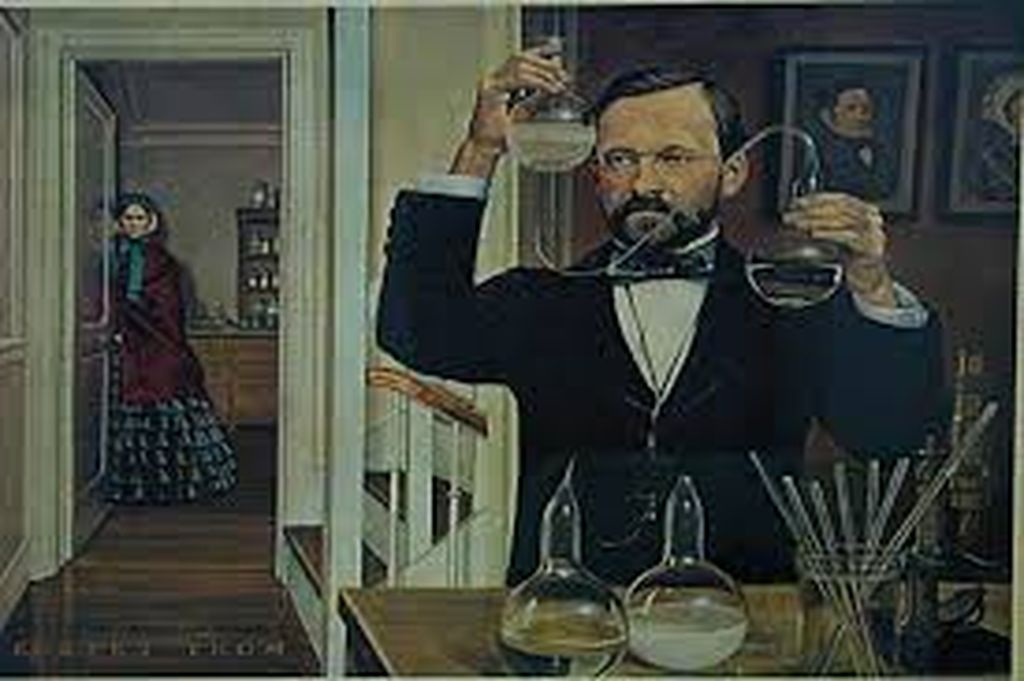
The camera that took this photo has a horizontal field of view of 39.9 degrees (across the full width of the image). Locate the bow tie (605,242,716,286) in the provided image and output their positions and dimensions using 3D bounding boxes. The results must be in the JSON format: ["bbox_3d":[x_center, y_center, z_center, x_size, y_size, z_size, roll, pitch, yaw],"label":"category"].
[{"bbox_3d":[0.443,-0.257,4.162,0.401,0.092,0.114,-1,29,3],"label":"bow tie"}]

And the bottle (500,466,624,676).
[{"bbox_3d":[0.106,0.650,3.745,0.321,0.448,0.325,-1,10,0],"label":"bottle"}]
